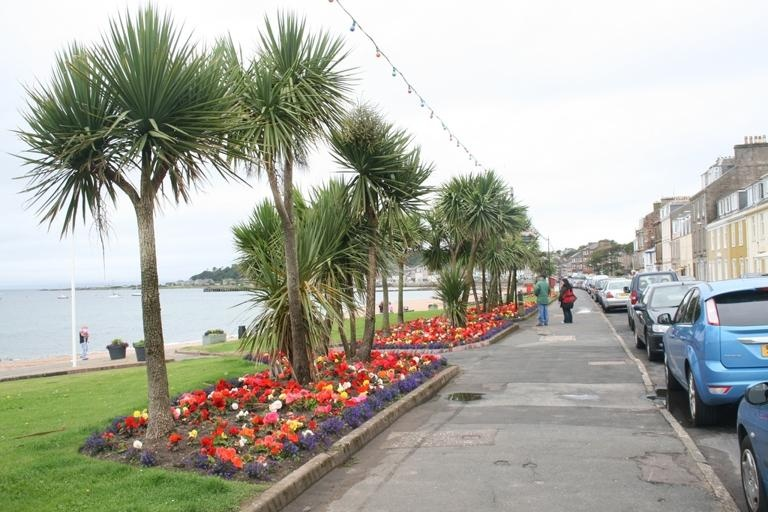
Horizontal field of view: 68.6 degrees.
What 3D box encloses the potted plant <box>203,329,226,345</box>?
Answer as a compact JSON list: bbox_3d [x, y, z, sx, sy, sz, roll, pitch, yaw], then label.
[{"bbox_3d":[-10.709,5.163,35.455,0.867,0.718,1.365,1,-2,20],"label":"potted plant"}]
